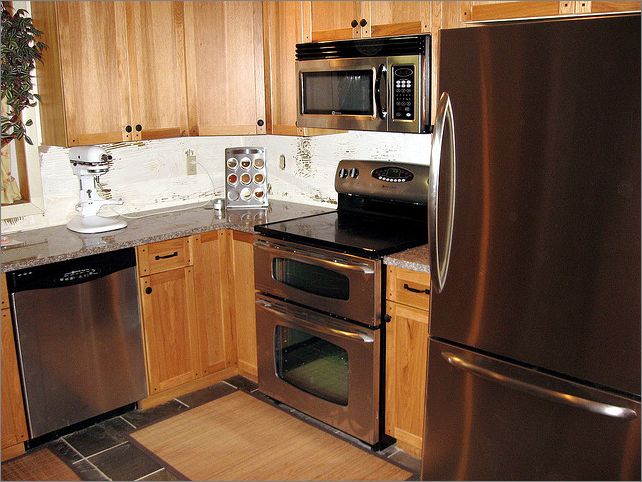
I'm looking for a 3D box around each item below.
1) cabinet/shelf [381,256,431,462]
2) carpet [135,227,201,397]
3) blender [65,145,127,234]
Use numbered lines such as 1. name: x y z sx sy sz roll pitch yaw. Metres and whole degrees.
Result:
1. cabinet/shelf: 0.432 0.602 2.504 0.281 0.875 0.282 15 21 42
2. carpet: -0.947 0.471 3.062 0.387 0.958 0.063 -15 21 -37
3. blender: -1.448 -0.339 3.066 0.353 0.512 0.308 10 15 31
